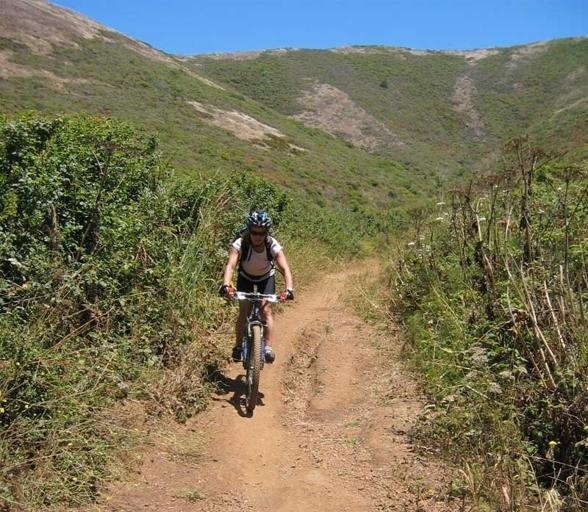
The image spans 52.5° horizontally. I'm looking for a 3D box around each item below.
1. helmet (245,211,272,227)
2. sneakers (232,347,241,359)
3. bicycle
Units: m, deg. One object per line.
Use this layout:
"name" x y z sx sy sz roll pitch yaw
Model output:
"helmet" -0.416 -0.448 7.173 0.273 0.210 0.199 4 21 -1
"sneakers" -0.728 1.250 7.691 0.122 0.128 0.135 -2 8 -38
"bicycle" -0.496 1.115 7.405 0.728 1.581 0.799 19 26 30
